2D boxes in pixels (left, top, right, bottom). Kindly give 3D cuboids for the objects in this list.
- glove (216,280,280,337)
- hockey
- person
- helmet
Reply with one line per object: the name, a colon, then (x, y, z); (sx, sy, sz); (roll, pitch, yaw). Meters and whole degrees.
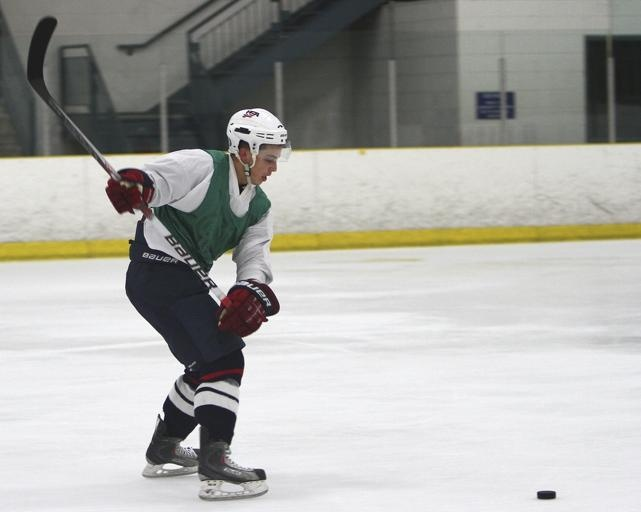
glove: (-0.335, 0.248, 6.689); (0.198, 0.236, 0.257); (7, 16, 28)
hockey: (-1.506, -0.695, 10.599); (0.163, 2.843, 0.491); (-38, -3, 13)
person: (-0.544, 0.209, 6.730); (0.821, 1.705, 0.665); (-3, 15, -7)
helmet: (-0.294, -0.550, 6.835); (0.306, 0.276, 0.235); (7, 10, 15)
